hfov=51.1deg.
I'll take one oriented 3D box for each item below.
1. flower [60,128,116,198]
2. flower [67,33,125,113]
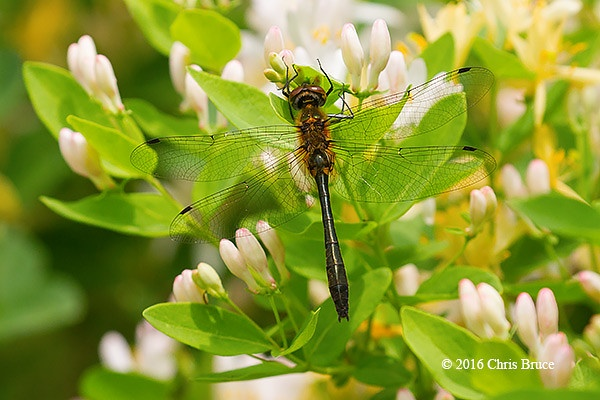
[{"bbox_3d":[-0.425,-0.066,1.331,0.050,0.201,0.059,-16,60,9],"label":"flower"},{"bbox_3d":[-0.410,-0.256,1.327,0.085,0.054,0.174,-35,100,0],"label":"flower"}]
